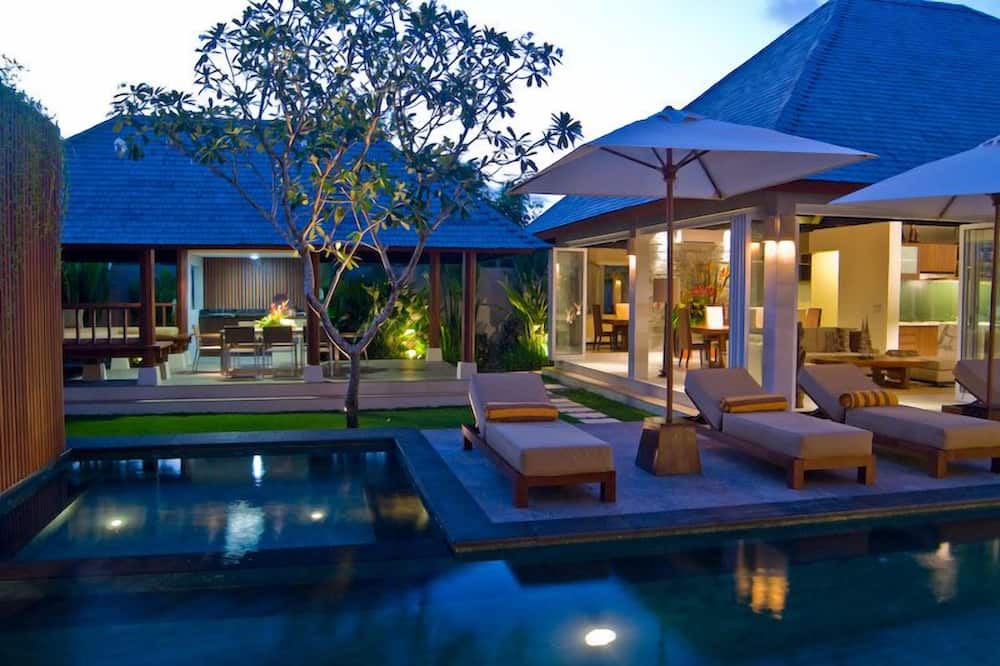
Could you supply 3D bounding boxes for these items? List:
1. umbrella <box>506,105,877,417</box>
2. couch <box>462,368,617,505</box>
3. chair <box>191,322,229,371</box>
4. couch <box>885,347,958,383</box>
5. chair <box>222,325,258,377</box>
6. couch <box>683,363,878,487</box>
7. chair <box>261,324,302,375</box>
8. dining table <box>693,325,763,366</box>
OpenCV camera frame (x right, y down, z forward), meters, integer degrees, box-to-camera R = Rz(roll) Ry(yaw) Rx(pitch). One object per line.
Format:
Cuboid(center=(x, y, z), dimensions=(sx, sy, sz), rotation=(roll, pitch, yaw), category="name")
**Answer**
Cuboid(center=(2.564, -1.201, 11.414), dimensions=(4.058, 3.783, 4.736), rotation=(-3, 14, 12), category="umbrella")
Cuboid(center=(0.356, 1.079, 8.497), dimensions=(0.901, 0.818, 2.342), rotation=(-1, -1, -12), category="couch")
Cuboid(center=(-5.869, 0.234, 14.920), dimensions=(0.678, 0.906, 0.725), rotation=(-3, 5, -24), category="chair")
Cuboid(center=(8.385, 0.671, 14.537), dimensions=(0.948, 0.627, 1.309), rotation=(0, 0, -1), category="couch")
Cuboid(center=(-5.276, 0.227, 14.879), dimensions=(0.678, 1.137, 2.440), rotation=(-5, 11, -20), category="chair")
Cuboid(center=(3.210, 0.994, 8.934), dimensions=(1.029, 0.944, 2.477), rotation=(-2, 2, -16), category="couch")
Cuboid(center=(-4.070, 0.240, 13.634), dimensions=(0.625, 0.906, 0.664), rotation=(-2, -7, -18), category="chair")
Cuboid(center=(4.371, 0.235, 15.141), dimensions=(0.755, 0.864, 1.332), rotation=(-2, 3, -7), category="dining table")
